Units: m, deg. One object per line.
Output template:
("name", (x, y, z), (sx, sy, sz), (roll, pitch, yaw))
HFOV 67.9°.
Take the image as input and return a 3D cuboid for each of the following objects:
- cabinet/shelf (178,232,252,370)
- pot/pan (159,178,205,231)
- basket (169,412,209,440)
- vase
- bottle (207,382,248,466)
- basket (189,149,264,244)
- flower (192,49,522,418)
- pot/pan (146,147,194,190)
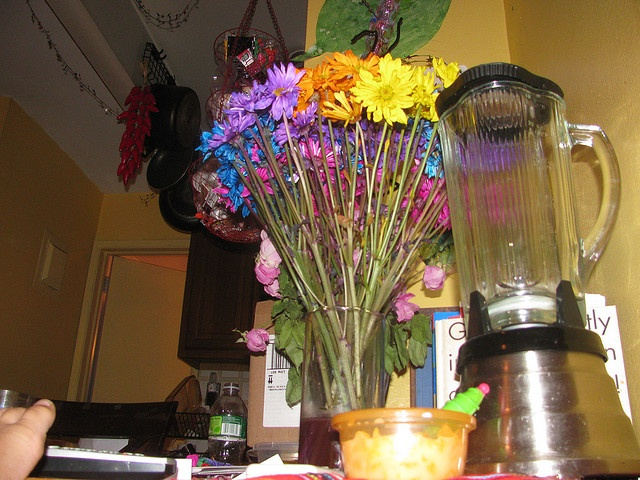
("cabinet/shelf", (-0.656, 0.517, 3.508), (0.499, 0.539, 1.115), (1, -59, -6))
("pot/pan", (-0.826, -0.218, 2.834), (0.317, 0.374, 0.111), (-3, -3, 13))
("basket", (-0.574, 0.815, 2.087), (0.153, 0.109, 0.257), (8, -26, -17))
("vase", (0.035, 0.230, 0.723), (0.142, 0.237, 0.142), (18, -20, -35))
("bottle", (-0.267, 0.562, 1.381), (0.095, 0.270, 0.105), (-8, -34, 11))
("basket", (-0.211, -0.068, 1.033), (0.134, 0.156, 0.180), (-53, -36, 9))
("flower", (0.053, 0.031, 0.873), (0.473, 0.734, 0.515), (-8, 7, -24))
("pot/pan", (-1.026, -0.492, 3.309), (0.355, 0.423, 0.081), (-12, -20, 25))
